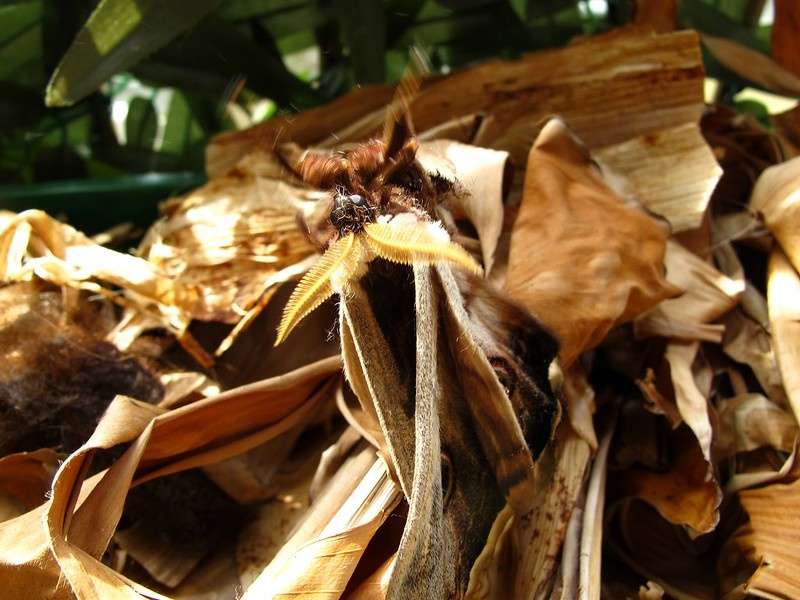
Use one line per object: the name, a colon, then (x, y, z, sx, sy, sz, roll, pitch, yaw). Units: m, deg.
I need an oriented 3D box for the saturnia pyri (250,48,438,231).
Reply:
saturnia pyri: (-0.035, -0.104, 0.637, 0.150, 0.117, 0.121, -18, 33, 12)
